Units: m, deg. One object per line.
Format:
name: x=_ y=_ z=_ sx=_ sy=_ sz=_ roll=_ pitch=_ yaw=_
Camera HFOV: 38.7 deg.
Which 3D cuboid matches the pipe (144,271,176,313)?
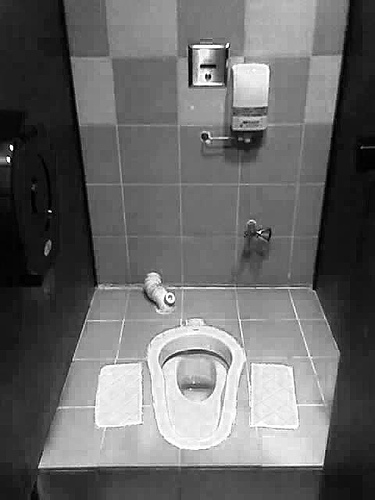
pipe: x=-0.135 y=0.191 z=2.357 sx=0.071 sy=0.113 sz=0.246 roll=15 pitch=17 yaw=-34
